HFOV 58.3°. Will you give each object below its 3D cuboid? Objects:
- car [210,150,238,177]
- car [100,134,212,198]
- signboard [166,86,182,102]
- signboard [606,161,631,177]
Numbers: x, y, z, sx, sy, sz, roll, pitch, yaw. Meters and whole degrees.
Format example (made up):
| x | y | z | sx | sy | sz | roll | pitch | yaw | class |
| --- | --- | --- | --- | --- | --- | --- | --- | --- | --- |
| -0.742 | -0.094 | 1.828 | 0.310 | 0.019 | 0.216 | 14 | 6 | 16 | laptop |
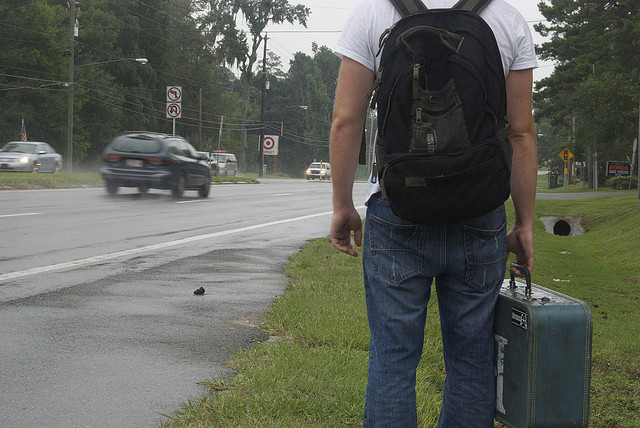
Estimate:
| x | y | z | sx | sy | sz | roll | pitch | yaw | class |
| --- | --- | --- | --- | --- | --- | --- | --- | --- | --- |
| -8.151 | -4.349 | 48.883 | 2.016 | 2.133 | 7.364 | 2 | 4 | -10 | car |
| -5.557 | -1.698 | 19.872 | 1.791 | 2.130 | 3.536 | 5 | 5 | 37 | car |
| -7.281 | -5.947 | 28.622 | 0.653 | 0.736 | 0.482 | 2 | 3 | -2 | signboard |
| 23.683 | -3.594 | 45.407 | 1.429 | 1.048 | 0.200 | 2 | 5 | 11 | signboard |
